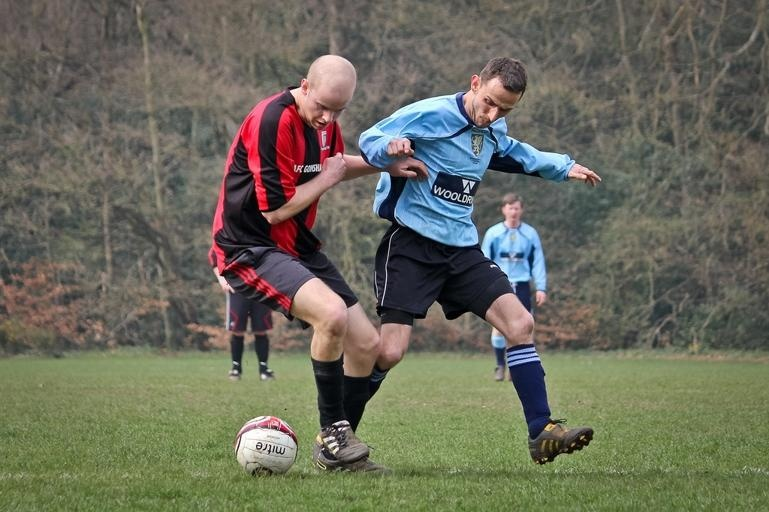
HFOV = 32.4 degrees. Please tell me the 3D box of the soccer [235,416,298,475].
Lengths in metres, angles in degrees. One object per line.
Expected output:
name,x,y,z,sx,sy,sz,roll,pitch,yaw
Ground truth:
soccer,-1.558,2.494,17.508,0.813,0.697,0.340,-1,13,-5
